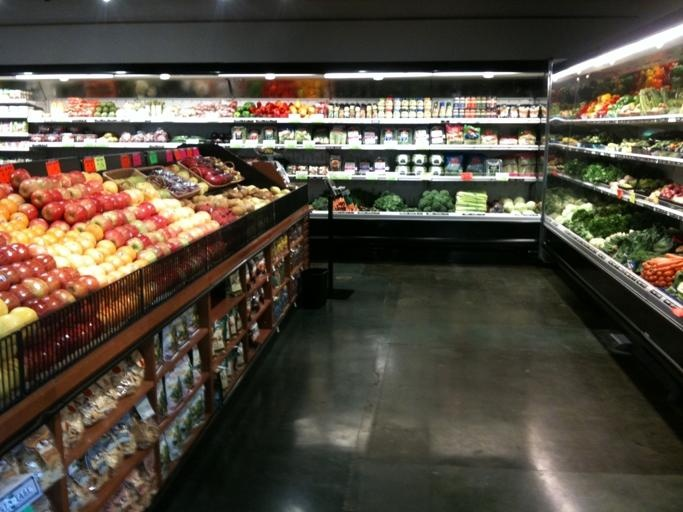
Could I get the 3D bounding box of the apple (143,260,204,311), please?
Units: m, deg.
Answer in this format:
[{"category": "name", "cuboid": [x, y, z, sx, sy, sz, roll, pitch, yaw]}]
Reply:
[{"category": "apple", "cuboid": [-0.830, 0.123, 2.387, 0.168, 0.181, 0.230, 3, 14, 4]}]
